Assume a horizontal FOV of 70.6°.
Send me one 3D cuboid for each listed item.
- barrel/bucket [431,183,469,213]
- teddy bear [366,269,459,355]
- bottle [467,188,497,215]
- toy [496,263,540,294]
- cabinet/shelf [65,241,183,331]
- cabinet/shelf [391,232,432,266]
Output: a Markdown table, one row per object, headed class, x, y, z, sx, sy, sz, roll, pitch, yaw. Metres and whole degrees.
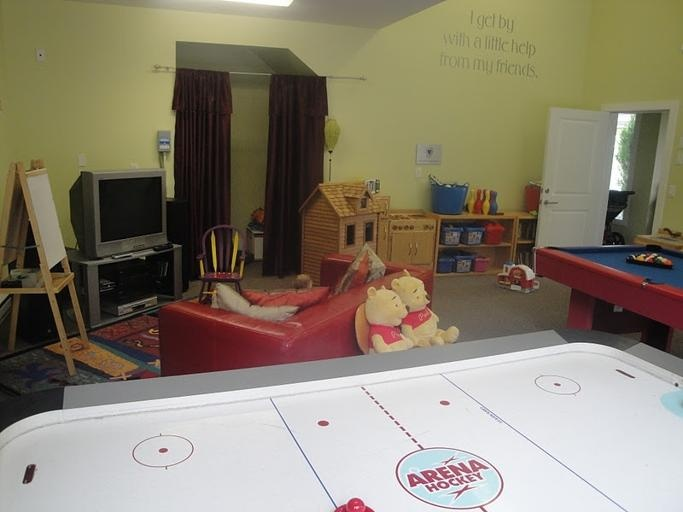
| class | x | y | z | sx | sy | sz | roll | pitch | yaw |
| --- | --- | --- | --- | --- | --- | --- | --- | --- | --- |
| barrel/bucket | 1.299 | -0.683 | 5.741 | 0.367 | 0.289 | 0.368 | -1 | 9 | 0 |
| teddy bear | 0.401 | 0.332 | 2.630 | 0.390 | 0.523 | 0.570 | 0 | 9 | 24 |
| bottle | 1.762 | -0.682 | 6.014 | 0.309 | 0.328 | 0.320 | 6 | 13 | 26 |
| toy | 1.937 | 0.214 | 5.457 | 0.222 | 0.356 | 0.539 | -12 | 20 | -43 |
| cabinet/shelf | -1.909 | 0.230 | 4.291 | 0.483 | 0.494 | 0.901 | 7 | 13 | 39 |
| cabinet/shelf | 0.787 | -0.093 | 5.537 | 0.346 | 0.269 | 0.181 | 1 | 3 | -38 |
